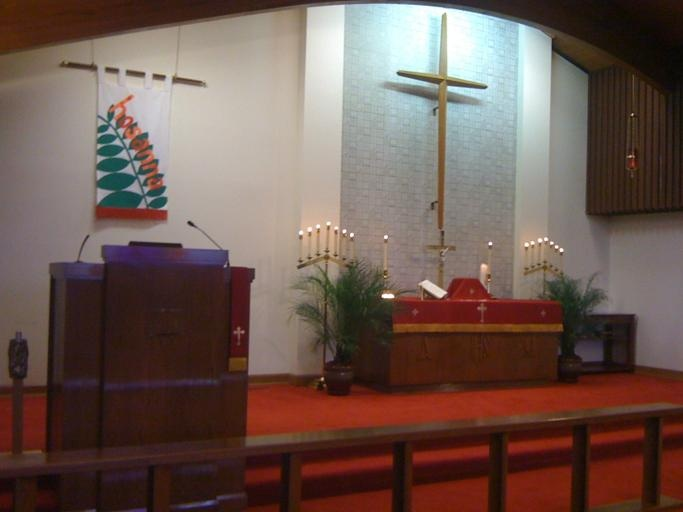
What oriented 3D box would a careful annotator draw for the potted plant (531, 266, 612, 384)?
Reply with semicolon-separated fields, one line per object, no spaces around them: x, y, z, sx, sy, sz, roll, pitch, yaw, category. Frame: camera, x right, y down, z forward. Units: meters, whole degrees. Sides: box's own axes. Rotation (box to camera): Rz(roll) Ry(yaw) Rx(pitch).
2.707;0.865;7.970;0.684;1.172;0.668;2;-4;-2;potted plant

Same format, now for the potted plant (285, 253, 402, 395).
0.060;0.798;7.349;1.333;1.526;1.186;3;-8;-6;potted plant

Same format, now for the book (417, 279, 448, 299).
0.996;0.364;7.344;0.294;0.177;0.195;-2;0;8;book
